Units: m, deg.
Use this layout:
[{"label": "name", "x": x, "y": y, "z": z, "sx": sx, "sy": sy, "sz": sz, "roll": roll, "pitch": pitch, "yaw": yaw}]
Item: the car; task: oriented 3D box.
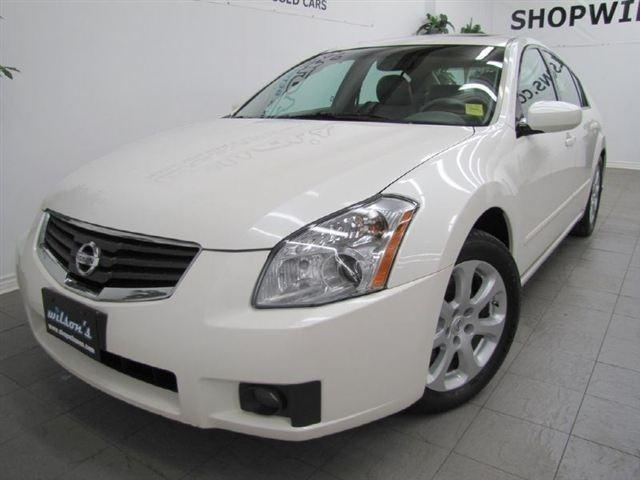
[{"label": "car", "x": 0.349, "y": -0.126, "z": 1.969, "sx": 1.442, "sy": 0.932, "sz": 2.589, "roll": 9, "pitch": 18, "yaw": 35}]
